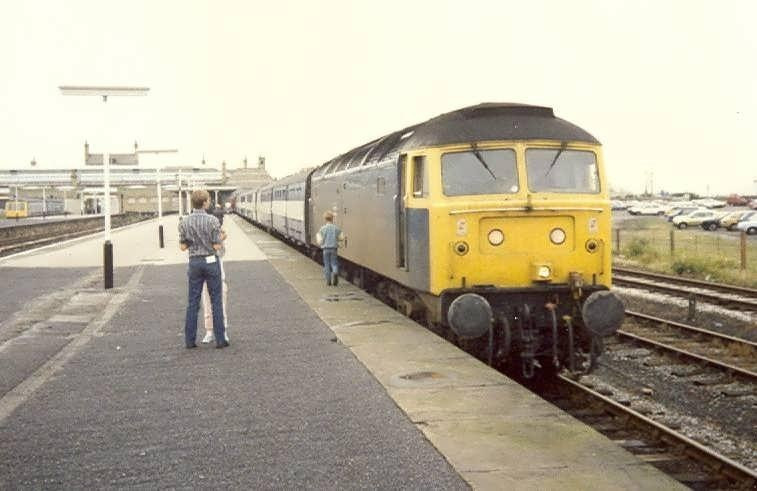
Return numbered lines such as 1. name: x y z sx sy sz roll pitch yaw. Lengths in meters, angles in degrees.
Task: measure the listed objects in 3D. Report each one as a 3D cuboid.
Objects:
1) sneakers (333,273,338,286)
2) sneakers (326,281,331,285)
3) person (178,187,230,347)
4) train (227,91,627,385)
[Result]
1. sneakers: -1.170 0.938 16.492 0.101 0.292 0.111 1 3 -13
2. sneakers: -1.381 1.050 16.833 0.057 0.107 0.170 -2 13 -18
3. person: -3.000 0.413 10.496 0.737 2.717 0.730 -2 7 -15
4. train: -0.976 -0.811 20.667 3.326 4.937 23.199 0 3 -19
